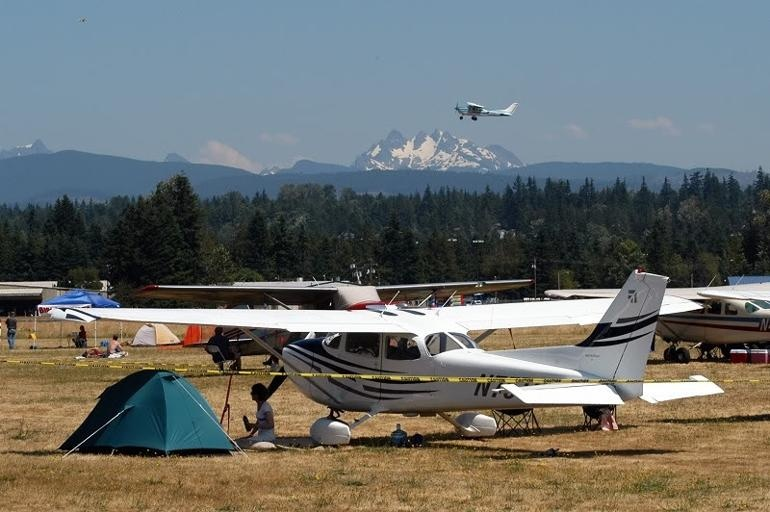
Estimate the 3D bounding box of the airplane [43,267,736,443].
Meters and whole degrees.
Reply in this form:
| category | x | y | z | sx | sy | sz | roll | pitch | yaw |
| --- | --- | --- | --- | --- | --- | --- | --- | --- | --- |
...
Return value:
| category | x | y | z | sx | sy | sz | roll | pitch | yaw |
| --- | --- | --- | --- | --- | --- | --- | --- | --- | --- |
| airplane | 1.203 | 4.756 | 64.275 | 20.438 | 7.564 | 26.378 | 2 | 4 | 32 |

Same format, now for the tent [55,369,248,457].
| category | x | y | z | sx | sy | sz | roll | pitch | yaw |
| --- | --- | --- | --- | --- | --- | --- | --- | --- | --- |
| tent | -10.153 | 6.803 | 62.870 | 6.179 | 3.466 | 0.762 | -1 | -3 | 4 |

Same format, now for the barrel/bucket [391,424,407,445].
| category | x | y | z | sx | sy | sz | roll | pitch | yaw |
| --- | --- | --- | --- | --- | --- | --- | --- | --- | --- |
| barrel/bucket | 0.595 | 7.877 | 63.908 | 0.733 | 0.873 | 0.754 | 1 | 2 | 0 |

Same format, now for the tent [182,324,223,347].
| category | x | y | z | sx | sy | sz | roll | pitch | yaw |
| --- | --- | --- | --- | --- | --- | --- | --- | --- | --- |
| tent | -10.234 | 4.487 | 81.032 | 1.980 | 1.114 | 2.036 | -1 | -6 | -7 |

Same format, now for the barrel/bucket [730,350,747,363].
| category | x | y | z | sx | sy | sz | roll | pitch | yaw |
| --- | --- | --- | --- | --- | --- | --- | --- | --- | --- |
| barrel/bucket | 18.319 | 5.221 | 75.341 | 0.896 | 0.647 | 0.570 | 0 | 2 | 20 |

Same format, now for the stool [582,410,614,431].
| category | x | y | z | sx | sy | sz | roll | pitch | yaw |
| --- | --- | --- | --- | --- | --- | --- | --- | --- | --- |
| stool | 9.624 | 7.282 | 64.650 | 1.334 | 0.718 | 0.892 | 6 | -45 | 12 |

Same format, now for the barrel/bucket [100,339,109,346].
| category | x | y | z | sx | sy | sz | roll | pitch | yaw |
| --- | --- | --- | --- | --- | --- | --- | --- | --- | --- |
| barrel/bucket | -16.529 | 5.093 | 85.374 | 0.536 | 0.292 | 0.941 | -1 | 4 | -7 |

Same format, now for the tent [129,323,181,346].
| category | x | y | z | sx | sy | sz | roll | pitch | yaw |
| --- | --- | --- | --- | --- | --- | --- | --- | --- | --- |
| tent | -14.242 | 4.908 | 87.998 | 2.222 | 1.097 | 2.280 | 1 | -1 | -39 |
